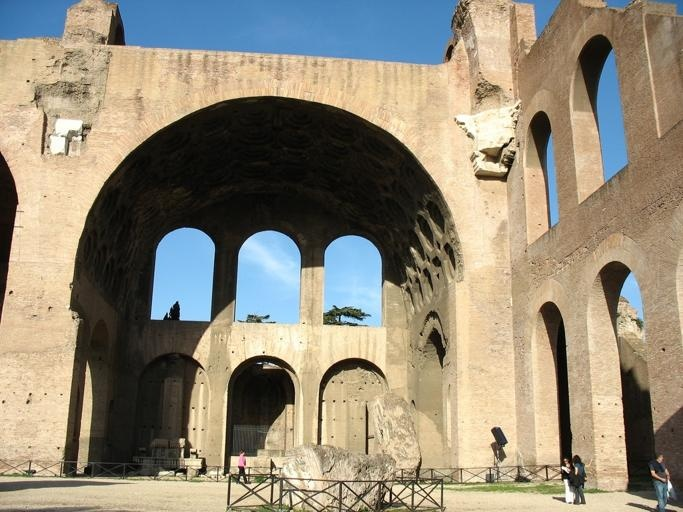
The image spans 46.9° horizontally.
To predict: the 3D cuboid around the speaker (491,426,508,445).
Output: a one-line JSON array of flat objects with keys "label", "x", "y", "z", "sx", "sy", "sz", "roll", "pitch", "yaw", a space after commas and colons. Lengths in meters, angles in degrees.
[{"label": "speaker", "x": 4.156, "y": 4.731, "z": 20.801, "sx": 0.286, "sy": 0.526, "sz": 0.174, "roll": 10, "pitch": -38, "yaw": -38}]
